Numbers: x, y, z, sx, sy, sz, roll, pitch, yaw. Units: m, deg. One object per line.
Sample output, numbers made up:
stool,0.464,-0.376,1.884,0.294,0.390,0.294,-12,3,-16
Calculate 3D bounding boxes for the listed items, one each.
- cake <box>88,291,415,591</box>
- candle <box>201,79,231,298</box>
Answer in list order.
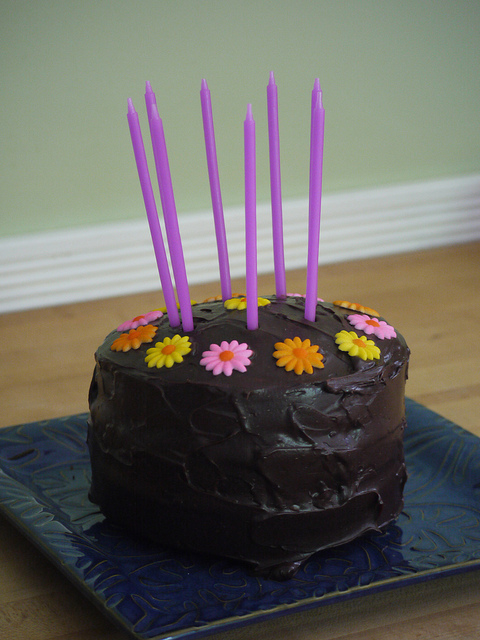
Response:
cake,-0.020,0.112,0.801,0.335,0.197,0.311,-10,20,-29
candle,-0.015,-0.138,0.785,0.020,0.259,0.017,-21,24,-35
